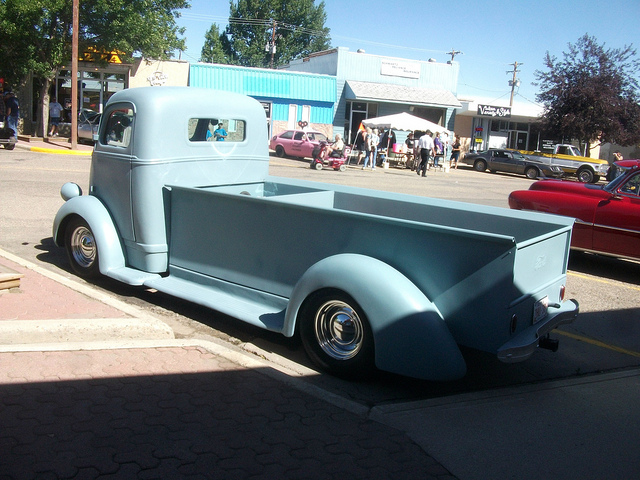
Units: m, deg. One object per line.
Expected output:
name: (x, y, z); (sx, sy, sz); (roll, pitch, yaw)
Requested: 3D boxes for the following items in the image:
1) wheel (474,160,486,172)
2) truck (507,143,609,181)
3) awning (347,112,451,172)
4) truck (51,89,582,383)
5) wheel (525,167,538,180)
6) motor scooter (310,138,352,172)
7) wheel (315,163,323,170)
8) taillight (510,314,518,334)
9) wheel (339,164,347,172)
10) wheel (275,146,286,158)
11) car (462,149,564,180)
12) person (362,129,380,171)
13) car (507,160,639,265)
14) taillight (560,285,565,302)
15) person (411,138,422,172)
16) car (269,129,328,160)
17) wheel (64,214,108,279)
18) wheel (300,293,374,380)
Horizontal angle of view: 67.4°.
wheel: (10.334, -4.852, 30.881); (0.268, 0.793, 0.745); (-8, 9, -32)
truck: (14.589, -4.472, 29.505); (5.359, 2.046, 2.544); (12, 17, 32)
awning: (4.231, -5.393, 27.871); (3.903, 2.666, 3.902); (-11, 31, -34)
truck: (-0.387, -0.387, 5.518); (6.116, 2.515, 2.312); (12, 15, 30)
wheel: (12.617, -4.047, 28.600); (0.267, 0.795, 0.747); (0, 4, -30)
motor scooter: (0.505, -3.958, 22.555); (1.878, 1.282, 0.767); (-1, 8, -32)
wheel: (-0.063, -3.451, 22.106); (0.281, 0.296, 0.094); (-2, 25, -23)
taillight: (1.537, 0.672, 3.813); (0.103, 0.150, 0.034); (-11, 10, -44)
wheel: (1.109, -3.431, 22.844); (0.361, 0.089, 0.362); (1, 35, -1)
wheel: (-2.174, -5.001, 26.791); (0.254, 0.692, 0.645); (-8, 10, -43)
car: (11.763, -4.725, 29.610); (4.008, 1.154, 2.092); (12, 16, 35)
person: (2.684, -5.003, 25.283); (0.749, 2.399, 0.723); (-13, 41, -22)
car: (4.765, -0.545, 8.482); (2.586, 1.319, 1.568); (12, 13, 29)
taillight: (2.331, 0.515, 4.634); (0.018, 0.157, 0.088); (14, 16, 40)
person: (5.225, -4.760, 26.054); (0.472, 1.701, 0.878); (6, 0, -9)
car: (-1.289, -5.373, 26.289); (2.565, 1.156, 1.791); (8, 14, 36)
wheel: (-2.899, 0.059, 5.988); (0.733, 0.879, 0.269); (3, 5, 38)
wheel: (0.172, 0.831, 4.196); (0.599, 0.632, 0.220); (25, 21, 39)
